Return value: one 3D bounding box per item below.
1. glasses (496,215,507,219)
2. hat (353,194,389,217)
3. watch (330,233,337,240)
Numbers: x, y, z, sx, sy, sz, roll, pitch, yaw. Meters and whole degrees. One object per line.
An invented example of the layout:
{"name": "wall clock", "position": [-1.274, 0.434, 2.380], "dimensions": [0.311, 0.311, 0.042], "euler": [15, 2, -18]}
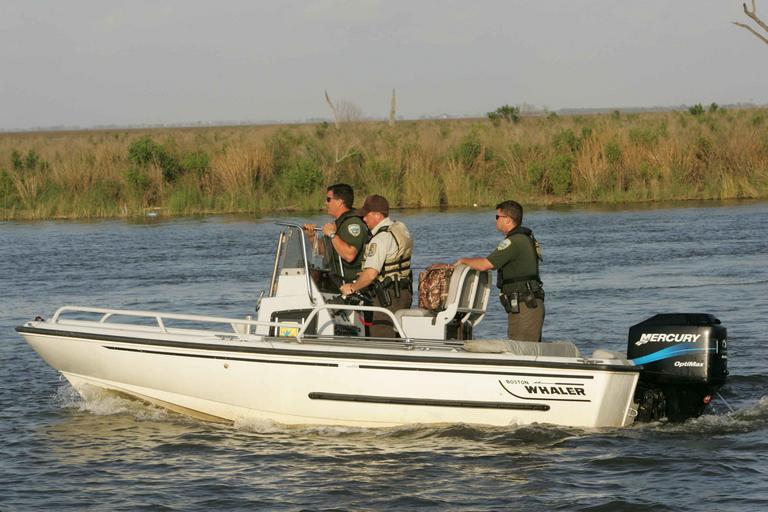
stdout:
{"name": "glasses", "position": [1.804, -0.605, 20.101], "dimensions": [0.111, 0.030, 0.101], "euler": [11, 3, 1]}
{"name": "hat", "position": [-0.179, -0.775, 20.321], "dimensions": [0.485, 0.237, 0.305], "euler": [3, 11, 8]}
{"name": "watch", "position": [-0.759, -0.302, 20.184], "dimensions": [0.117, 0.063, 0.101], "euler": [-8, 7, -29]}
